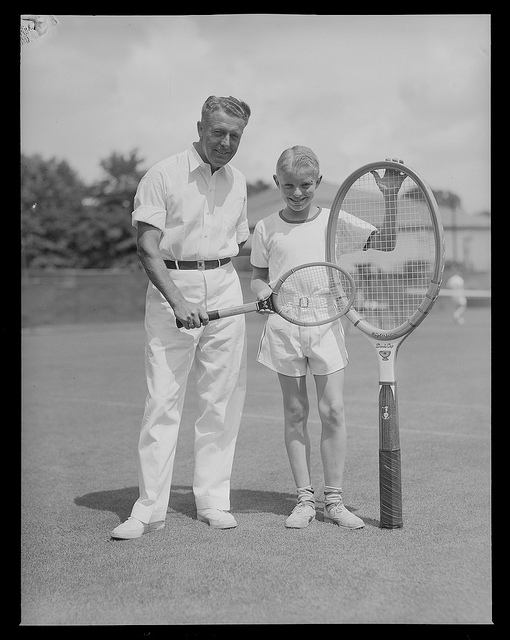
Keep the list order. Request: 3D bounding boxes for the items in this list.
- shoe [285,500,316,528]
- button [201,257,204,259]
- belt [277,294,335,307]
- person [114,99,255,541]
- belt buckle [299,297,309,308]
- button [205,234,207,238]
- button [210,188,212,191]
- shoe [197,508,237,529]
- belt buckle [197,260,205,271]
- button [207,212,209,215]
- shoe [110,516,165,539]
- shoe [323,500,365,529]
[{"bbox_3d":[0.220,0.936,4.894,0.115,0.100,0.256,3,5,17],"label":"shoe"},{"bbox_3d":[-0.263,-0.300,4.883,0.009,0.010,0.002,6,-1,-3],"label":"button"},{"bbox_3d":[0.250,-0.090,4.892,0.267,0.057,0.024,2,5,4],"label":"belt"},{"bbox_3d":[-0.338,-0.032,4.917,0.592,2.078,0.725,2,5,-1],"label":"person"},{"bbox_3d":[0.233,-0.082,4.888,0.047,0.049,0.012,-2,-5,-4],"label":"belt buckle"},{"bbox_3d":[-0.245,-0.406,4.861,0.009,0.014,0.003,-3,7,-17],"label":"button"},{"bbox_3d":[-0.222,-0.630,4.864,0.014,0.015,0.004,3,2,-7],"label":"button"},{"bbox_3d":[-0.196,0.965,4.872,0.073,0.077,0.180,5,-9,-44],"label":"shoe"},{"bbox_3d":[-0.269,-0.263,4.889,0.040,0.059,0.042,1,-3,3],"label":"belt buckle"},{"bbox_3d":[-0.234,-0.515,4.861,0.014,0.015,0.003,-10,8,-38],"label":"button"},{"bbox_3d":[-0.568,0.975,4.744,0.226,0.088,0.084,3,-6,-41],"label":"shoe"},{"bbox_3d":[0.424,0.948,4.861,0.084,0.098,0.218,-6,-1,-36],"label":"shoe"}]
